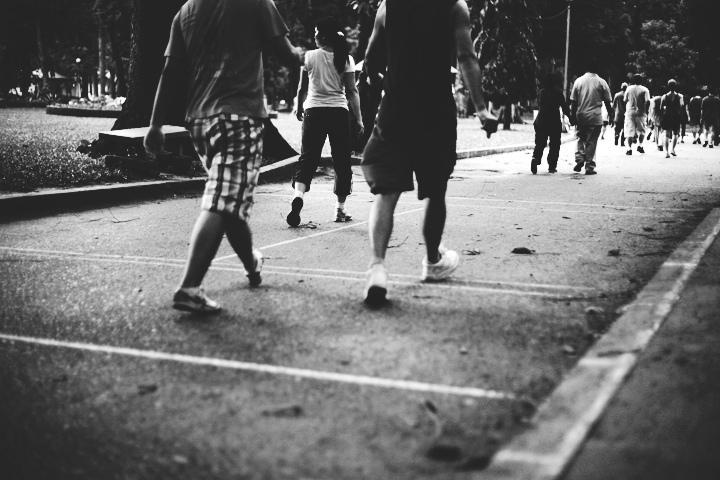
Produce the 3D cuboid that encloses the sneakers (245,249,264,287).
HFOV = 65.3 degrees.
[{"bbox_3d":[-0.849,0.219,4.534,0.103,0.327,0.146,5,8,21],"label":"sneakers"}]

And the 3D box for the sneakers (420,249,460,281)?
[{"bbox_3d":[0.671,0.241,4.669,0.156,0.191,0.398,-2,24,30],"label":"sneakers"}]

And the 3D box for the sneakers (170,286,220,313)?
[{"bbox_3d":[-1.130,0.403,3.928,0.363,0.181,0.139,7,24,-38],"label":"sneakers"}]

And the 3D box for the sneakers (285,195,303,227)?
[{"bbox_3d":[-0.822,-0.357,6.972,0.167,0.412,0.208,11,4,-17],"label":"sneakers"}]

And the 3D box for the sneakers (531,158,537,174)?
[{"bbox_3d":[4.089,-1.741,13.159,0.128,0.406,0.148,-1,-4,-7],"label":"sneakers"}]

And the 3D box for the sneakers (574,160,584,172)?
[{"bbox_3d":[5.212,-1.753,13.362,0.176,0.260,0.551,5,13,24],"label":"sneakers"}]

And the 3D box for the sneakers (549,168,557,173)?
[{"bbox_3d":[4.677,-1.702,13.632,0.098,0.085,0.173,1,5,11],"label":"sneakers"}]
